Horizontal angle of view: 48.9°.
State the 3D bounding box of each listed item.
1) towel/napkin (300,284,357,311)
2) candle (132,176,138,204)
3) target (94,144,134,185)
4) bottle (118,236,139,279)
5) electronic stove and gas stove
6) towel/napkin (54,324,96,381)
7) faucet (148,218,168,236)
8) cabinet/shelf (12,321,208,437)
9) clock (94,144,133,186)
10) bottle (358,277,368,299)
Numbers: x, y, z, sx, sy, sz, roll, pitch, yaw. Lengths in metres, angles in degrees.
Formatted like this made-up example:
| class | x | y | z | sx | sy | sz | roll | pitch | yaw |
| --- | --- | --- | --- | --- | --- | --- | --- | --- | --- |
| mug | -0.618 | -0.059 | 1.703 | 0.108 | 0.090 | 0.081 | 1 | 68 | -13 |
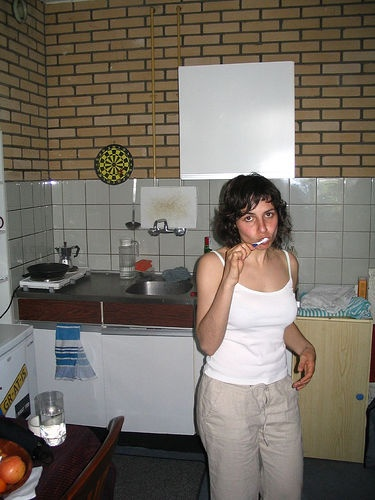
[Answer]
| class | x | y | z | sx | sy | sz | roll | pitch | yaw |
| --- | --- | --- | --- | --- | --- | --- | --- | --- | --- |
| towel/napkin | 0.814 | 0.264 | 2.386 | 0.314 | 0.119 | 0.293 | 3 | 10 | 5 |
| candle | -0.371 | -0.417 | 2.900 | 0.039 | 0.170 | 0.010 | 1 | 6 | 18 |
| target | -0.516 | -0.601 | 2.909 | 0.280 | 0.285 | 0.028 | 0 | 6 | 11 |
| bottle | -0.419 | 0.057 | 2.881 | 0.151 | 0.259 | 0.209 | -2 | 6 | -4 |
| electronic stove and gas stove | -0.873 | 0.188 | 2.700 | 0.289 | 0.086 | 0.514 | -1 | 5 | 6 |
| towel/napkin | -0.648 | 0.592 | 2.386 | 0.338 | 0.410 | 0.066 | 0 | 0 | 5 |
| faucet | -0.198 | -0.148 | 2.798 | 0.145 | 0.124 | 0.202 | -1 | 5 | -3 |
| cabinet/shelf | -0.346 | 0.740 | 2.366 | 1.109 | 0.865 | 0.589 | 0 | 3 | 11 |
| clock | -0.519 | -0.595 | 2.902 | 0.256 | 0.287 | 0.096 | 3 | 13 | 8 |
| bottle | 1.061 | 0.234 | 2.495 | 0.045 | 0.110 | 0.165 | 1 | 6 | 21 |
